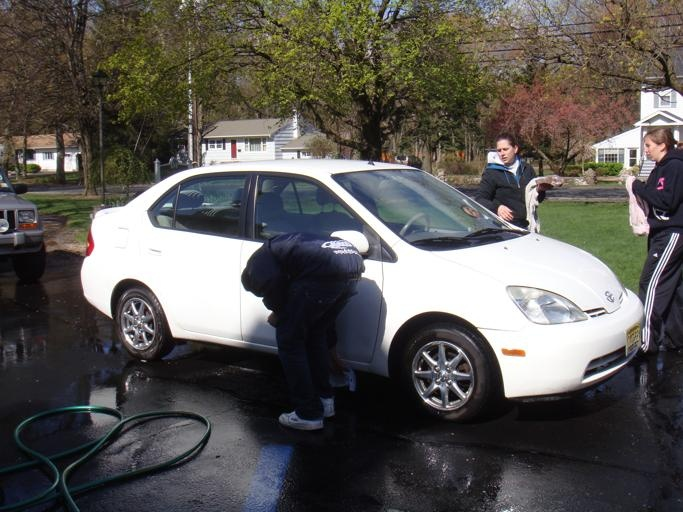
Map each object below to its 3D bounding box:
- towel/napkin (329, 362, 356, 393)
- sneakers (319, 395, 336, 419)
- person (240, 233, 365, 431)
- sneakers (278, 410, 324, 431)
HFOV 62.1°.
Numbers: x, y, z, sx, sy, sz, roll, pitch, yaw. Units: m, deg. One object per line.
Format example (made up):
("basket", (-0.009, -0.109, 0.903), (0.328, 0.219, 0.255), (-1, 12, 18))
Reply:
("towel/napkin", (0.056, 1.064, 4.902), (0.248, 0.300, 0.170), (2, 4, 22))
("sneakers", (-0.098, 1.218, 4.563), (0.153, 0.169, 0.120), (-5, 5, 34))
("person", (-0.275, 0.587, 4.265), (0.886, 1.522, 0.300), (-1, 10, -2))
("sneakers", (-0.313, 1.243, 4.432), (0.338, 0.148, 0.138), (5, 11, 27))
